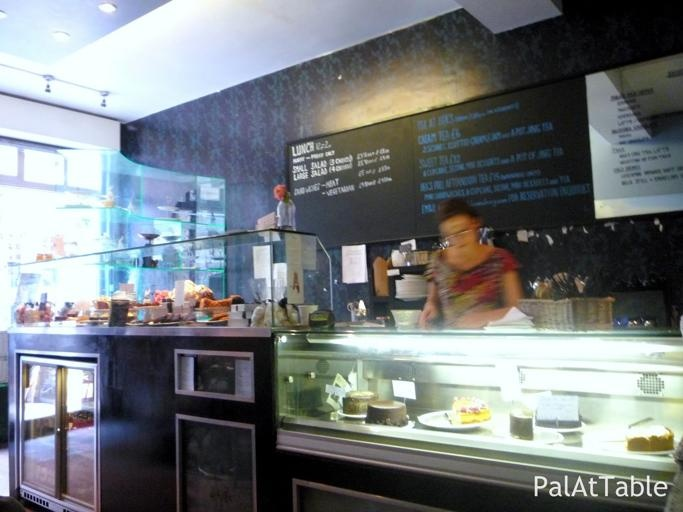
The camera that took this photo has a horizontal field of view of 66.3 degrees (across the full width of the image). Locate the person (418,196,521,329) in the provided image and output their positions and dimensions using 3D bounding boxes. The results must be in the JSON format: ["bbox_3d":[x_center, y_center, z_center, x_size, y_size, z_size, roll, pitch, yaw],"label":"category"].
[{"bbox_3d":[0.847,0.056,3.373,0.552,0.851,0.529,-18,-30,40],"label":"person"}]
